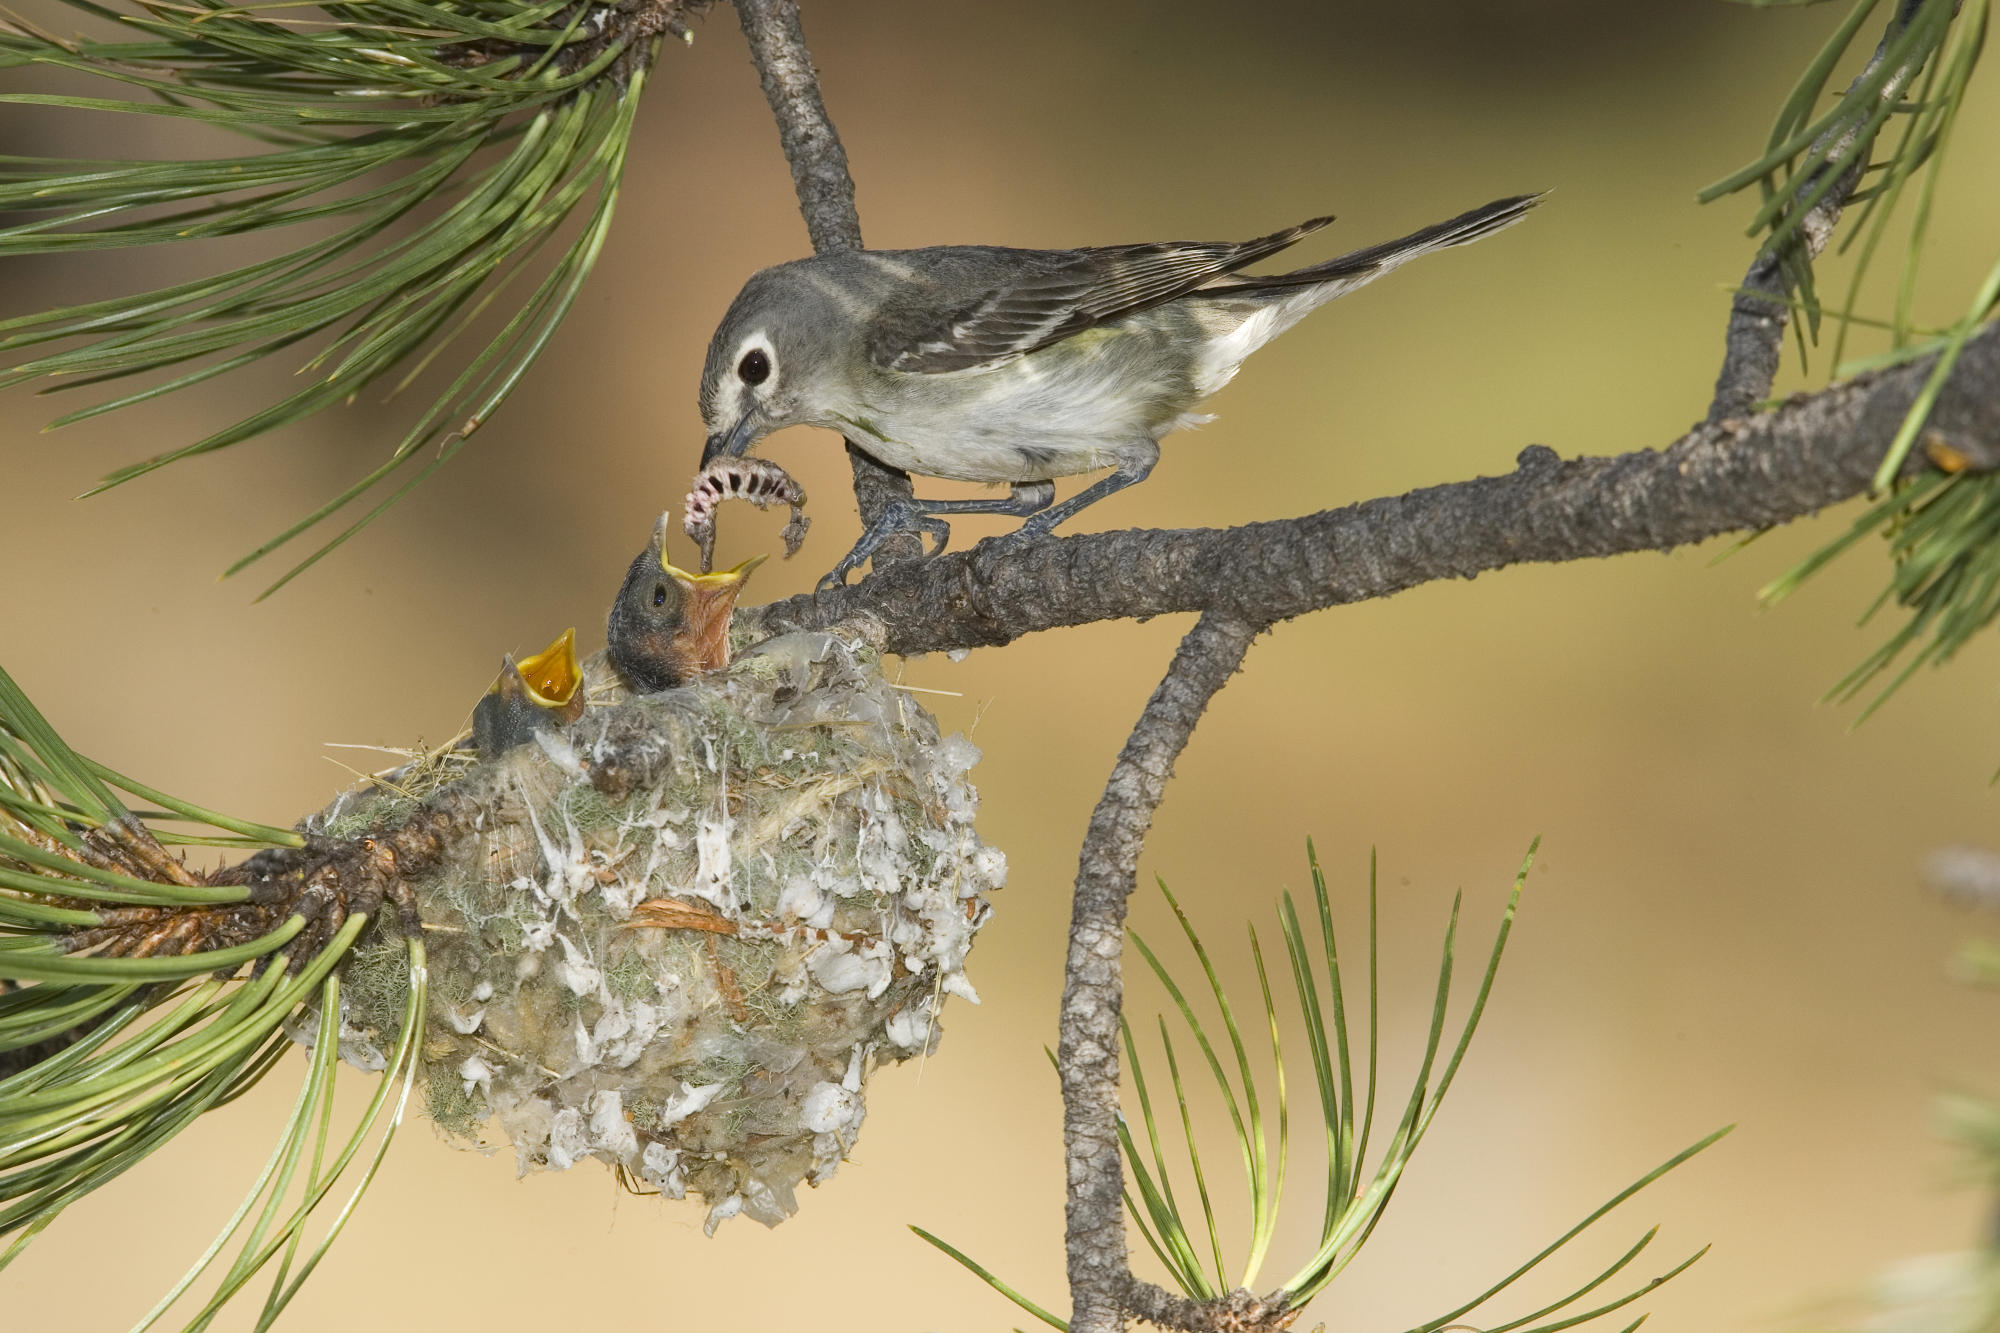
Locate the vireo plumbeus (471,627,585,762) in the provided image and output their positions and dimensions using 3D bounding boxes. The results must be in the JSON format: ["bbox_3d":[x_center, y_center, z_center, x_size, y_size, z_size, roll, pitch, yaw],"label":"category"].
[{"bbox_3d":[-0.849,0.045,3.805,0.281,0.308,0.206,-1,-83,-21],"label":"vireo plumbeus"}]

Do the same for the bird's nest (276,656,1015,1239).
[{"bbox_3d":[-0.493,0.423,3.545,0.894,0.800,0.742,18,-57,-4],"label":"bird's nest"}]

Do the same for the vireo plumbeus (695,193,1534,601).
[{"bbox_3d":[0.101,-0.772,5.713,3.491,1.365,1.030,0,-71,-1],"label":"vireo plumbeus"}]
